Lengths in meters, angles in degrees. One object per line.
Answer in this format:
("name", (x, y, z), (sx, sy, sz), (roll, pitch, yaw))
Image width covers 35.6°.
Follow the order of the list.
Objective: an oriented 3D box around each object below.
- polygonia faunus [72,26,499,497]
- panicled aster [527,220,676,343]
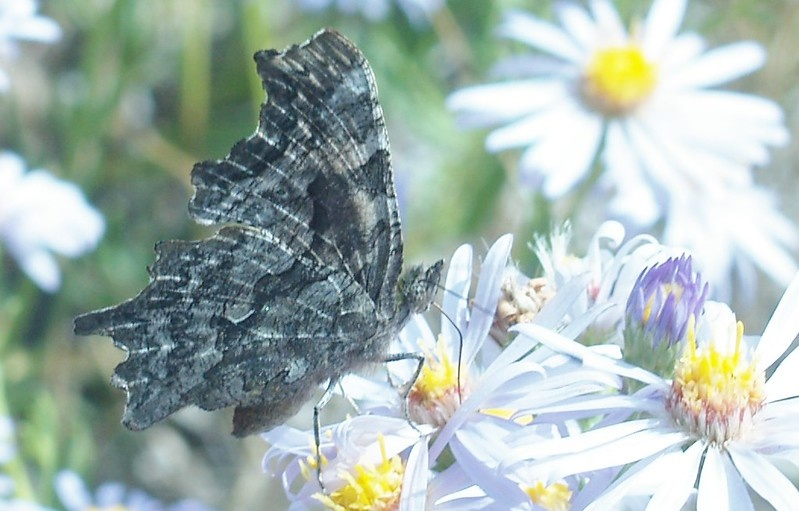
("polygonia faunus", (-0.369, 0.004, 4.202), (1.211, 1.529, 0.840), (9, 13, 28))
("panicled aster", (0.663, 0.063, 4.115), (0.361, 0.195, 0.416), (13, 51, 16))
